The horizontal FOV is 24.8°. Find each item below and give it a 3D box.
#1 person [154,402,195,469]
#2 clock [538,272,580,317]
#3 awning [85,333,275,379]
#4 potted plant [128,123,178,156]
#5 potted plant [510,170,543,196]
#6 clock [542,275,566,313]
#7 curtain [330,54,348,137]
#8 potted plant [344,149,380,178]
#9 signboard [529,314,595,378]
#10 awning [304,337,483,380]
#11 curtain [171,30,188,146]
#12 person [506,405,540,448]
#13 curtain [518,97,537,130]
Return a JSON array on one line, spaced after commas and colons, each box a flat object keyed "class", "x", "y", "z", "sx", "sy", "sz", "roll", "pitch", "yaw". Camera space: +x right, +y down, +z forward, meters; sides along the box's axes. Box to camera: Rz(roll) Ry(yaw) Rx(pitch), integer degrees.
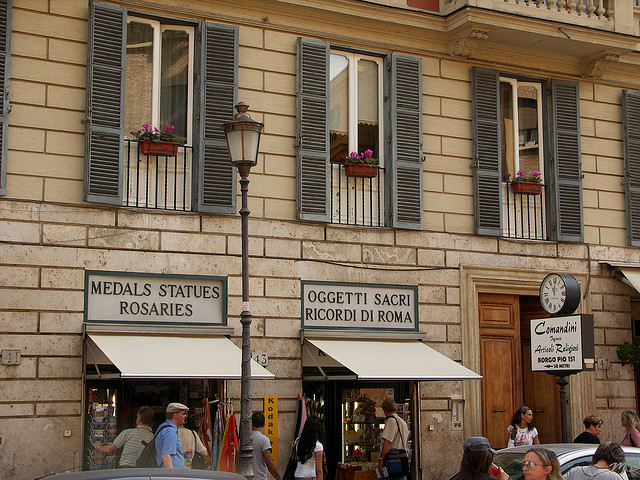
[{"class": "person", "x": -2.201, "y": 2.890, "z": 21.276, "sx": 0.465, "sy": 0.973, "sz": 1.231, "roll": 2, "pitch": -9, "yaw": -6}, {"class": "clock", "x": 3.979, "y": 0.927, "z": 24.205, "sx": 0.431, "sy": 0.807, "sz": 0.770, "roll": 5, "pitch": -2, "yaw": -32}, {"class": "awning", "x": -2.389, "y": 1.862, "z": 23.084, "sx": 2.317, "sy": 0.855, "sz": 1.289, "roll": 4, "pitch": -10, "yaw": -20}, {"class": "potted plant", "x": -2.781, "y": -1.618, "z": 24.195, "sx": 0.828, "sy": 0.575, "sz": 0.531, "roll": 3, "pitch": -17, "yaw": -30}, {"class": "potted plant", "x": 3.763, "y": -0.964, "z": 26.540, "sx": 0.610, "sy": 0.473, "sz": 0.392, "roll": 5, "pitch": -23, "yaw": -11}, {"class": "clock", "x": 3.892, "y": 0.922, "z": 24.058, "sx": 0.175, "sy": 0.660, "sz": 0.608, "roll": 1, "pitch": -5, "yaw": -18}, {"class": "curtain", "x": 0.324, "y": -2.581, "z": 25.640, "sx": 0.378, "sy": 1.446, "sz": 0.073, "roll": 5, "pitch": -10, "yaw": -24}, {"class": "potted plant", "x": 0.721, "y": -1.300, "z": 25.332, "sx": 0.617, "sy": 0.415, "sz": 0.448, "roll": 4, "pitch": -12, "yaw": -17}, {"class": "signboard", "x": 3.740, "y": 1.727, "z": 23.662, "sx": 1.091, "sy": 0.924, "sz": 0.374, "roll": -1, "pitch": -1, "yaw": -32}, {"class": "awning", "x": 1.211, "y": 1.993, "z": 24.466, "sx": 2.634, "sy": 0.584, "sz": 1.823, "roll": 4, "pitch": 1, "yaw": -37}, {"class": "curtain", "x": -2.419, "y": -2.602, "z": 24.629, "sx": 0.289, "sy": 1.968, "sz": 0.186, "roll": 2, "pitch": -9, "yaw": -8}, {"class": "person", "x": 3.372, "y": 3.140, "z": 24.095, "sx": 0.466, "sy": 0.680, "sz": 1.882, "roll": 0, "pitch": -10, "yaw": 8}, {"class": "curtain", "x": 3.874, "y": -2.373, "z": 27.010, "sx": 0.437, "sy": 0.583, "sz": 0.047, "roll": 8, "pitch": 17, "yaw": 40}]
